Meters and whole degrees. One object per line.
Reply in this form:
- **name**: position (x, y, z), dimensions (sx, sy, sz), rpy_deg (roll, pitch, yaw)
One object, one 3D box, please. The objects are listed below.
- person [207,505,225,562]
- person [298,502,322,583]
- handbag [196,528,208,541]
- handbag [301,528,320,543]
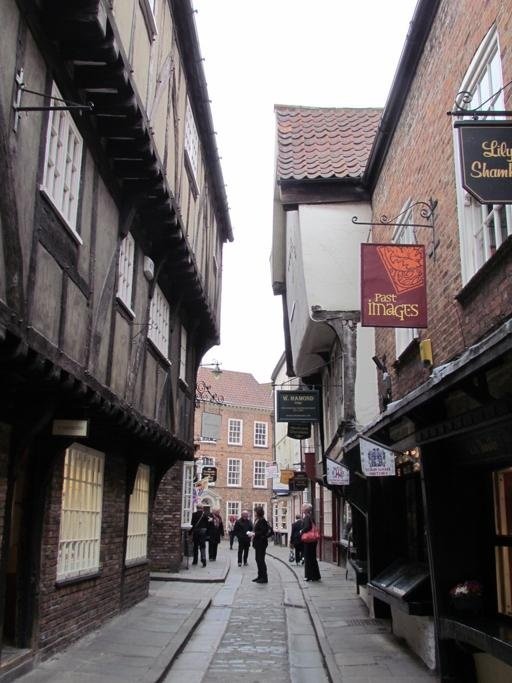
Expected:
- **person**: position (-1.545, 7.368, 18.539), dimensions (0.584, 1.763, 0.624), rpy_deg (2, -44, -1)
- **person**: position (1.503, 5.532, 13.633), dimensions (0.443, 1.999, 1.490), rpy_deg (-2, -18, 6)
- **handbag**: position (-1.800, 6.480, 16.577), dimensions (0.266, 0.410, 0.557), rpy_deg (-9, -22, 26)
- **handbag**: position (1.435, 5.226, 13.292), dimensions (0.429, 0.405, 0.621), rpy_deg (-1, -20, 2)
